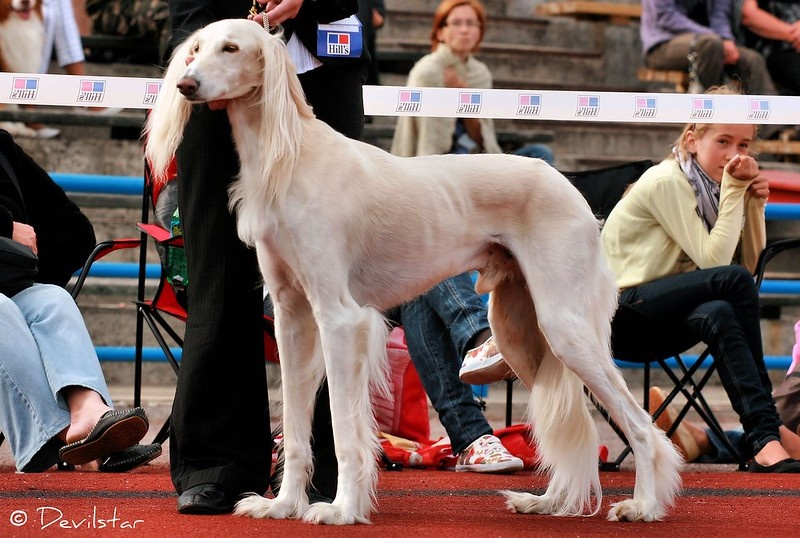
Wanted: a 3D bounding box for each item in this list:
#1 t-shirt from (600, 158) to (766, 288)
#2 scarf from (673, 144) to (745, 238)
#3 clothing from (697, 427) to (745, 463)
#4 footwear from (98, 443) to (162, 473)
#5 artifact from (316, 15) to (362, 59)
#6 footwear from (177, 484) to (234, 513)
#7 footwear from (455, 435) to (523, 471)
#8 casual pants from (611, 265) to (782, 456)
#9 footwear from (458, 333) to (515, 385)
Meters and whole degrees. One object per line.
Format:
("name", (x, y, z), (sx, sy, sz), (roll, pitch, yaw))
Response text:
("t-shirt", (1.843, -0.313, 9.722), (1.138, 0.837, 0.782), (-7, -7, 42))
("scarf", (1.933, -0.530, 9.567), (0.163, 0.439, 0.356), (-24, -18, 33))
("clothing", (2.080, 1.144, 9.765), (0.289, 0.102, 0.363), (-1, -3, 13))
("footwear", (-1.644, 1.147, 9.214), (0.406, 0.148, 0.145), (-20, -9, 2))
("artifact", (-0.341, -1.285, 8.442), (0.262, 0.227, 0.231), (-1, -5, -6))
("footwear", (-1.067, 1.251, 8.224), (0.289, 0.119, 0.142), (2, -2, 43))
("footwear", (0.536, 1.146, 9.308), (0.396, 0.161, 0.182), (-5, -10, 29))
("casual pants", (1.830, 0.591, 9.703), (1.176, 1.229, 1.064), (-10, -12, 5))
("footwear", (0.493, 0.566, 8.977), (0.174, 0.194, 0.451), (4, -13, -41))
